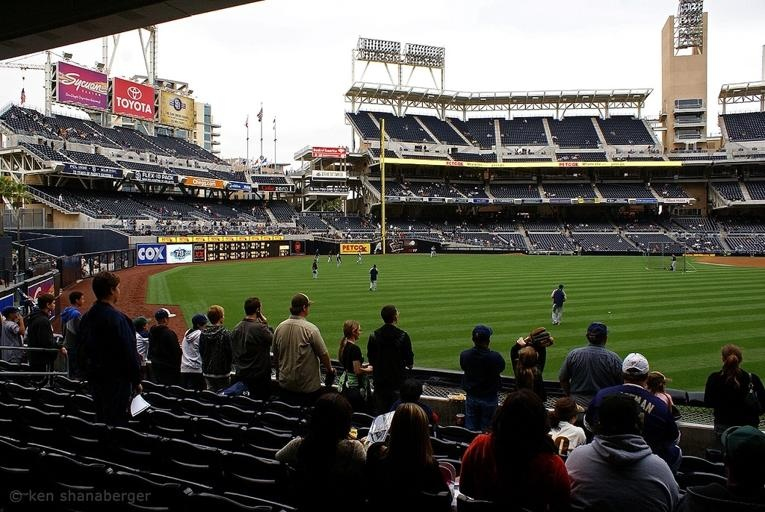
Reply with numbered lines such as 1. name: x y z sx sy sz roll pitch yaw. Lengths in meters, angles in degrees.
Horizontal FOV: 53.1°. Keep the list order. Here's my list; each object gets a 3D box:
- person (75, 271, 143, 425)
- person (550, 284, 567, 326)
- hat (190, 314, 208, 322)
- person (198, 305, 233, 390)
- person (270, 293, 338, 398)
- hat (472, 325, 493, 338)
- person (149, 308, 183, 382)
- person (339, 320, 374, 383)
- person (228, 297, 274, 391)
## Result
1. person: -4.552 1.528 12.557 0.968 2.522 0.468 0 -5 -15
2. person: 5.035 1.431 22.264 0.374 1.192 1.765 -2 -4 12
3. hat: -3.654 1.231 15.092 0.257 0.137 0.193 -5 8 -31
4. person: -3.241 1.790 14.648 0.705 1.627 0.445 -1 -5 2
5. person: -1.514 1.647 13.953 1.097 1.868 0.541 -1 -5 -3
6. hat: 1.746 1.366 13.704 0.293 0.213 0.339 -2 -4 11
7. person: -4.360 1.796 15.024 0.716 1.476 0.450 -3 -5 20
8. person: -0.550 1.770 14.175 0.592 1.127 0.863 -1 -4 -1
9. person: -2.487 1.737 14.305 0.786 1.875 0.536 -1 -5 -6
